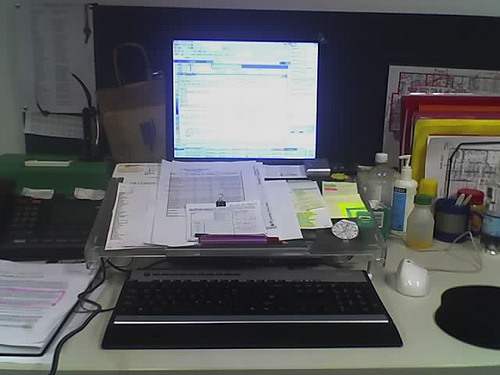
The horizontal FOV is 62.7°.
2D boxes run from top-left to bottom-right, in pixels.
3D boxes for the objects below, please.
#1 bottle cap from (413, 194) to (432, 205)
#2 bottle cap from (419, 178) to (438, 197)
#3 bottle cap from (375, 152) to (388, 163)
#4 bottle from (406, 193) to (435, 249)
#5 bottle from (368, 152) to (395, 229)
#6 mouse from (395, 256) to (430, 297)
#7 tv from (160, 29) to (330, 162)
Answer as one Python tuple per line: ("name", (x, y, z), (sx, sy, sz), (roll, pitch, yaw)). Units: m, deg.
("bottle cap", (0.528, 0.035, 1.238), (0.068, 0.028, 0.039), (-3, 13, -12))
("bottle cap", (0.552, -0.006, 1.304), (0.056, 0.054, 0.056), (0, 19, 0))
("bottle cap", (0.432, -0.098, 1.350), (0.035, 0.024, 0.035), (0, 11, 0))
("bottle", (0.526, 0.097, 1.272), (0.074, 0.163, 0.100), (5, 14, 21))
("bottle", (0.445, -0.011, 1.408), (0.100, 0.257, 0.100), (-8, 36, 6))
("mouse", (0.404, 0.221, 1.023), (0.067, 0.066, 0.098), (3, 2, 21))
("tv", (-0.030, -0.272, 1.262), (0.464, 0.356, 0.022), (-1, 6, 0))
